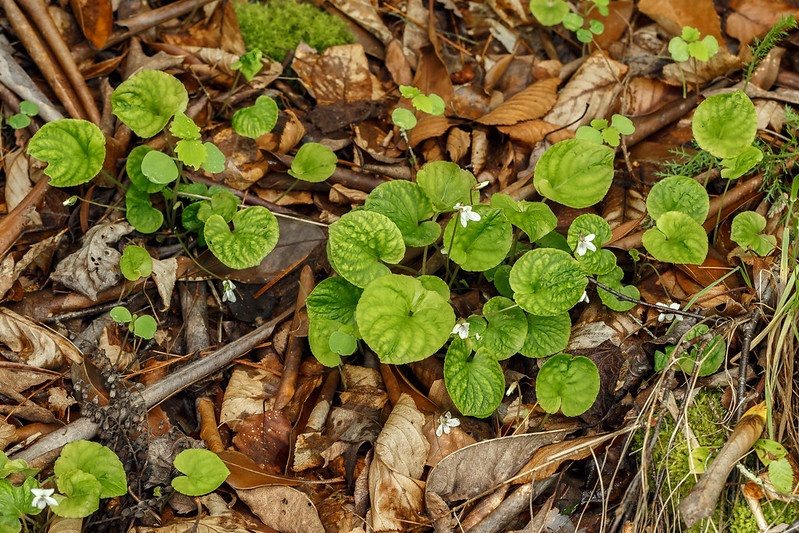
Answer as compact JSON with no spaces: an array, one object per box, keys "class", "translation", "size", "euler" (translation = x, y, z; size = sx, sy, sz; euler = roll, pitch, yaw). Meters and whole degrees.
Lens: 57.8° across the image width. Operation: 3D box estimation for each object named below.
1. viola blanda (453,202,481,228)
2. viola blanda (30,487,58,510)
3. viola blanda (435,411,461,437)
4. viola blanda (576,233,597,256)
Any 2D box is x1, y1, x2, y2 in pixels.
[{"class":"viola blanda","translation":[0.374,-0.295,4.051],"size":[0.051,0.118,0.131],"euler":[19,27,-32]},{"class":"viola blanda","translation":[-1.846,1.198,3.765],"size":[0.123,0.029,0.134],"euler":[-2,85,-9]},{"class":"viola blanda","translation":[0.256,0.879,4.107],"size":[0.135,0.069,0.138],"euler":[-32,31,-6]},{"class":"viola blanda","translation":[1.072,-0.128,4.140],"size":[0.117,0.120,0.125],"euler":[10,66,-2]}]
